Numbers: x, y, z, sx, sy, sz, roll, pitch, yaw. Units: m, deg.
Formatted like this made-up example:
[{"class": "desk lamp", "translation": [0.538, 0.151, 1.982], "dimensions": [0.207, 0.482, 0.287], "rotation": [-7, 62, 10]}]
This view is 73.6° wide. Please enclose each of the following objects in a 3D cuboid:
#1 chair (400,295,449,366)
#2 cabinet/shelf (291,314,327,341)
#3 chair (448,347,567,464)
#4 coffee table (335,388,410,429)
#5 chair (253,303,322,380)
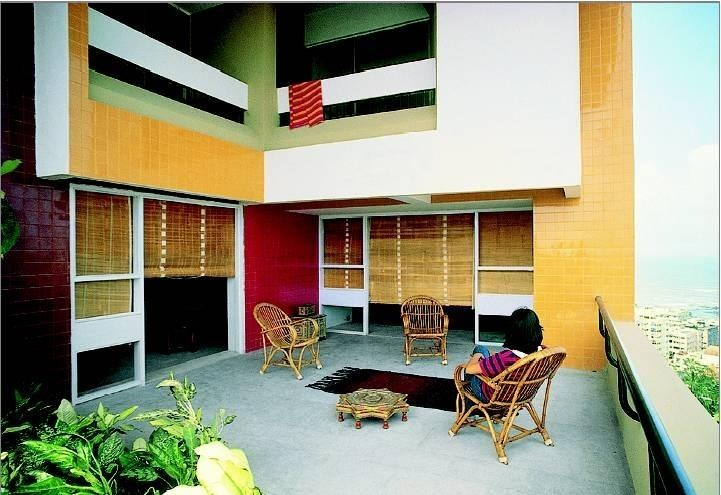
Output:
[{"class": "chair", "translation": [1.075, 1.380, 8.223], "dimensions": [0.972, 1.034, 0.893], "rotation": [-2, 4, -29]}, {"class": "cabinet/shelf", "translation": [-0.949, 1.418, 8.592], "dimensions": [0.398, 0.406, 0.715], "rotation": [0, -1, 23]}, {"class": "chair", "translation": [1.613, 1.596, 5.334], "dimensions": [0.933, 1.145, 0.973], "rotation": [-1, 6, -42]}, {"class": "coffee table", "translation": [0.129, 1.954, 5.837], "dimensions": [0.877, 0.284, 0.552], "rotation": [0, 7, 3]}, {"class": "chair", "translation": [-1.150, 1.483, 8.027], "dimensions": [1.228, 1.270, 1.083], "rotation": [0, 1, 25]}]
